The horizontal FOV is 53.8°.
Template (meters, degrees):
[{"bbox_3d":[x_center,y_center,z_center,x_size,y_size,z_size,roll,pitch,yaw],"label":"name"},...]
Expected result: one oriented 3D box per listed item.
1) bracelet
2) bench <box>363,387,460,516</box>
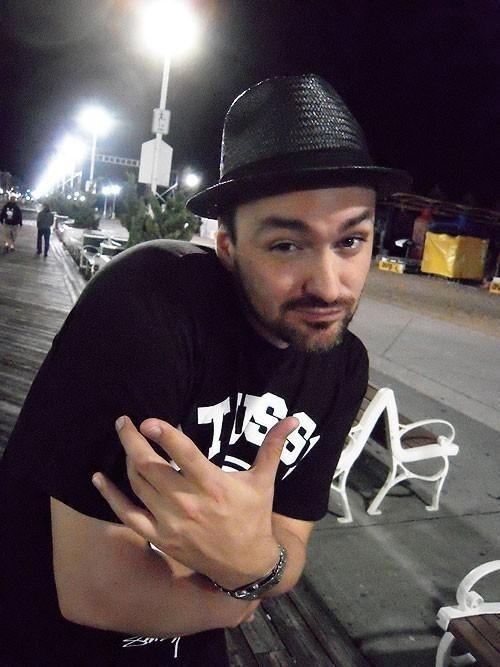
[{"bbox_3d":[0.009,0.574,1.162,0.174,0.163,0.126,2,12,-12],"label":"bracelet"},{"bbox_3d":[1.416,1.094,4.414,0.591,0.829,1.315,1,0,-5],"label":"bench"}]
